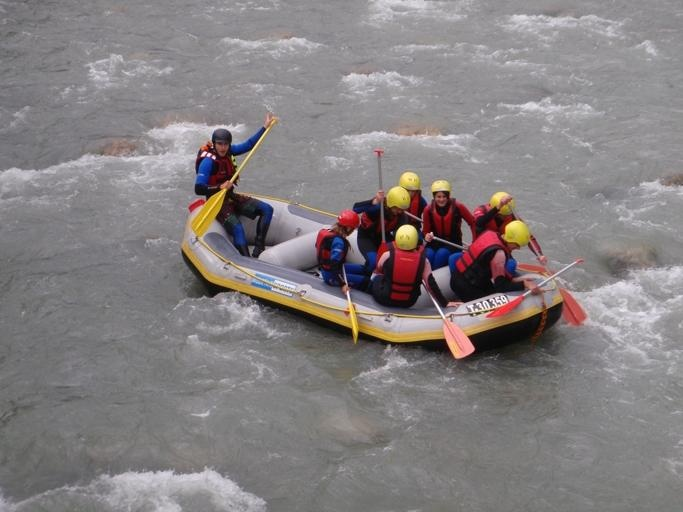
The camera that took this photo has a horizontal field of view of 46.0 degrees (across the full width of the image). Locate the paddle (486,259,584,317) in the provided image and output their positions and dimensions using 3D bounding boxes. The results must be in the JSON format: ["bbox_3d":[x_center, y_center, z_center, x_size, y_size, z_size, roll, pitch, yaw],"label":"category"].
[{"bbox_3d":[3.111,0.554,13.054,1.865,0.147,0.146,-27,32,-4],"label":"paddle"}]

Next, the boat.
[{"bbox_3d":[0.287,0.586,13.486,6.186,1.046,2.585,12,38,14],"label":"boat"}]

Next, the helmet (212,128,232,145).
[{"bbox_3d":[-2.156,-2.168,14.339,0.314,0.297,0.431,-3,39,-2],"label":"helmet"}]

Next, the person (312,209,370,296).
[{"bbox_3d":[0.013,-0.008,13.606,0.989,1.310,0.910,-14,48,-25],"label":"person"}]

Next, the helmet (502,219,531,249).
[{"bbox_3d":[2.739,-0.320,12.729,0.392,0.391,0.464,19,40,-8],"label":"helmet"}]

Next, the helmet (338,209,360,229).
[{"bbox_3d":[0.118,-0.619,13.258,0.324,0.344,0.332,11,42,13],"label":"helmet"}]

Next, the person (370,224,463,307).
[{"bbox_3d":[1.000,0.108,13.245,2.031,1.416,1.112,3,33,0],"label":"person"}]

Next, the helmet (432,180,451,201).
[{"bbox_3d":[1.697,-1.153,13.698,0.337,0.383,0.259,-1,74,2],"label":"helmet"}]

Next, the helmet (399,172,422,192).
[{"bbox_3d":[1.226,-1.294,14.193,0.425,0.338,0.475,-7,25,-14],"label":"helmet"}]

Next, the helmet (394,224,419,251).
[{"bbox_3d":[1.043,-0.265,12.721,0.359,0.349,0.395,6,59,11],"label":"helmet"}]
